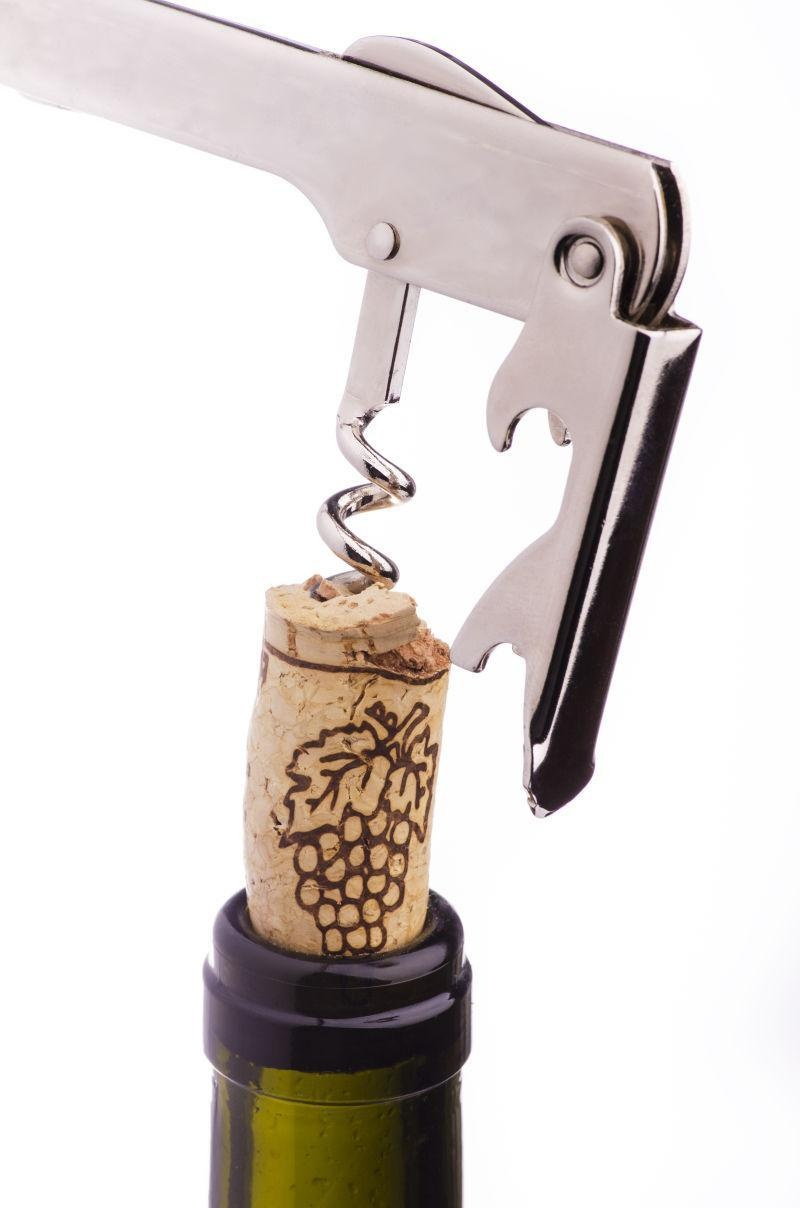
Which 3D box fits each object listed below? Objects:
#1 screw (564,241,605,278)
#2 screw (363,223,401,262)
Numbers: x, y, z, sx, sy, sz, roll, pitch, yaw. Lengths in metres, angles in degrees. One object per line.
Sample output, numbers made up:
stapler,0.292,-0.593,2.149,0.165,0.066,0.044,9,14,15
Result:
screw,0.123,-0.231,0.887,0.006,0.024,0.024,-4,26,-39
screw,-0.014,-0.276,1.003,0.006,0.027,0.028,7,14,-43
